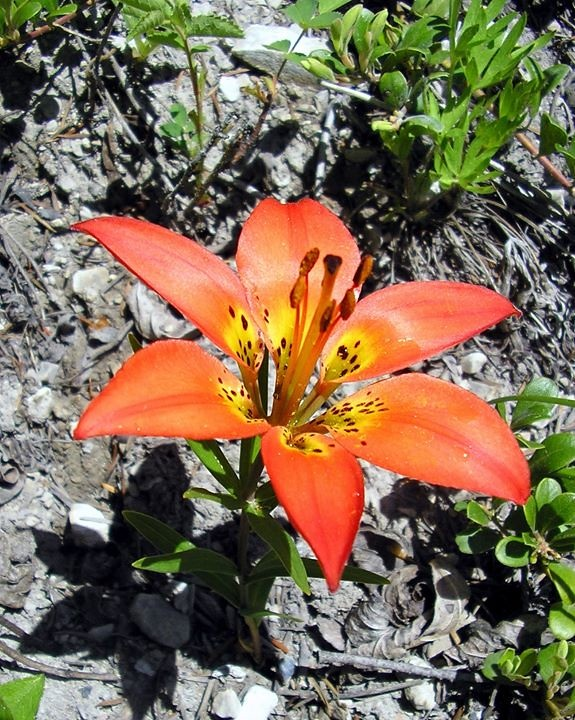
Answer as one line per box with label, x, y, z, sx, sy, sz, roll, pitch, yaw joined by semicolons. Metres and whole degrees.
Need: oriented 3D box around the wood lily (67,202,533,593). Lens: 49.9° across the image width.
wood lily;-0.150;0.157;1.552;1.010;0.479;0.935;-17;57;-38
